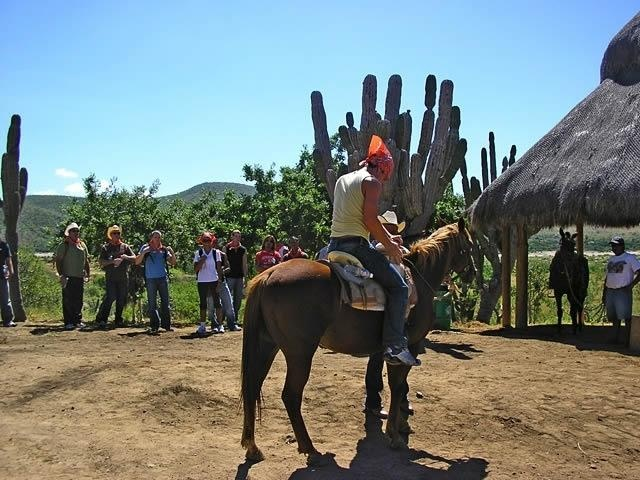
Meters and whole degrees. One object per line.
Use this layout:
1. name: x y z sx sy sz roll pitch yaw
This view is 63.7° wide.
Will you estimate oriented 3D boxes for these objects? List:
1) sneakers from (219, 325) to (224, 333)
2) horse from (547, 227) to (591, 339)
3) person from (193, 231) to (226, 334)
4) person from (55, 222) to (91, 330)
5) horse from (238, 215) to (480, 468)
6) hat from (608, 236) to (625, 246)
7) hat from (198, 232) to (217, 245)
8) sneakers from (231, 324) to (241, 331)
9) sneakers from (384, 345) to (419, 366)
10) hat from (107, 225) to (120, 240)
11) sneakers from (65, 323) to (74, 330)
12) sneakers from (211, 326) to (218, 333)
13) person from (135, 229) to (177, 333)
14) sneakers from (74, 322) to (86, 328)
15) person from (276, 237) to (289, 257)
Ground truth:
1. sneakers: -2.365 2.172 12.359 0.087 0.155 0.159 -1 -47 1
2. horse: 7.129 0.969 14.262 0.627 1.896 2.466 -5 17 23
3. person: -2.644 1.062 12.292 0.732 2.505 1.081 1 7 -13
4. person: -6.072 0.920 12.563 0.716 2.637 1.288 0 8 -25
5. horse: 0.594 1.535 7.212 2.951 2.834 1.002 4 -13 -22
6. hat: 6.688 -0.019 11.528 0.327 0.184 0.242 15 -16 -32
7. hat: -2.687 -0.040 12.156 0.276 0.426 0.361 1 4 -3
8. sneakers: -2.056 2.142 12.573 0.321 0.159 0.107 0 4 -45
9. sneakers: 1.013 1.383 6.181 0.509 0.249 0.201 14 -21 -24
10. hat: -5.102 -0.193 12.696 0.239 0.378 0.768 0 8 -25
11. sneakers: -5.987 2.064 12.264 0.115 0.169 0.334 7 -15 -44
12. sneakers: -2.562 2.188 12.460 0.106 0.136 0.149 8 -33 -1
13. person: -3.896 1.014 12.291 0.818 2.500 0.952 3 7 0
14. sneakers: -5.812 2.068 12.468 0.116 0.160 0.347 4 -9 -30
15. person: -1.182 0.202 16.055 0.422 0.615 1.382 -4 13 -6
